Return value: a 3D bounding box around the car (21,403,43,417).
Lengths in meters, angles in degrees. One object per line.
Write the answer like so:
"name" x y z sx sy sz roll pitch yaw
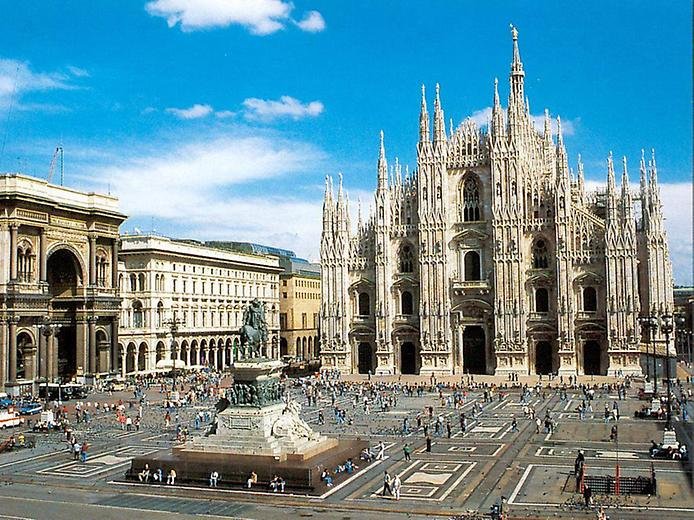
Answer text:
"car" -28.862 13.841 84.069 0.946 0.739 1.695 -2 -10 13

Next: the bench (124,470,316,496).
"bench" -7.624 13.796 57.572 11.727 1.752 1.037 -3 -8 14
